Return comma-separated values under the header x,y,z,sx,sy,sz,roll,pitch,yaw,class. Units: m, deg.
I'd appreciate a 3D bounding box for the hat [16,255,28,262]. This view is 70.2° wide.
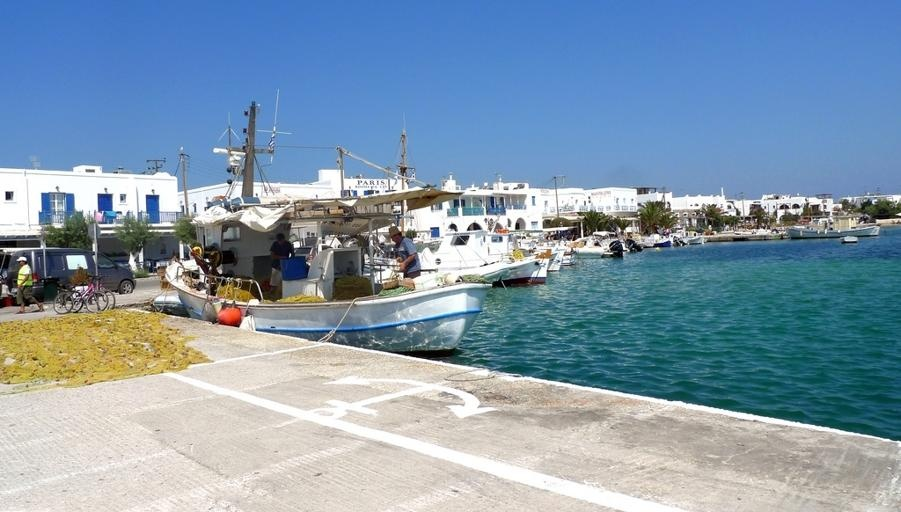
x,y,z,sx,sy,sz,roll,pitch,yaw,class
-16.736,0.086,24.884,0.478,0.176,0.305,6,4,22,hat

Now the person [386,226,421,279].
x,y,z,sx,sy,sz,roll,pitch,yaw,class
-1.293,-0.150,17.840,0.733,1.430,1.320,-4,4,-6,person

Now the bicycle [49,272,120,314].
x,y,z,sx,sy,sz,roll,pitch,yaw,class
-14.289,1.469,23.879,3.056,1.339,1.294,-1,2,-7,bicycle

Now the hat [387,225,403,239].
x,y,z,sx,sy,sz,roll,pitch,yaw,class
-1.590,-0.679,17.906,0.443,0.188,0.407,-16,-3,12,hat

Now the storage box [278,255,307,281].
x,y,z,sx,sy,sz,roll,pitch,yaw,class
-4.585,0.364,18.773,1.076,0.782,0.712,0,-3,-25,storage box
